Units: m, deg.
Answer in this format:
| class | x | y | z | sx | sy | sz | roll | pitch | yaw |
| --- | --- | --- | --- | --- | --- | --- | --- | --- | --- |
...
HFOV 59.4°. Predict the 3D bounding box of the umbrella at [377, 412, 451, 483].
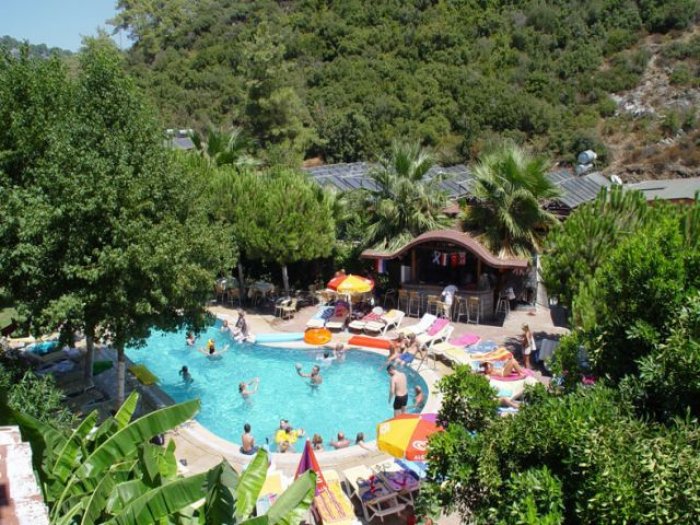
| class | x | y | z | sx | sy | sz | roll | pitch | yaw |
| --- | --- | --- | --- | --- | --- | --- | --- | --- | --- |
| umbrella | 1.319 | 4.397 | 14.616 | 1.596 | 1.227 | 1.676 | -1 | 17 | -1 |
